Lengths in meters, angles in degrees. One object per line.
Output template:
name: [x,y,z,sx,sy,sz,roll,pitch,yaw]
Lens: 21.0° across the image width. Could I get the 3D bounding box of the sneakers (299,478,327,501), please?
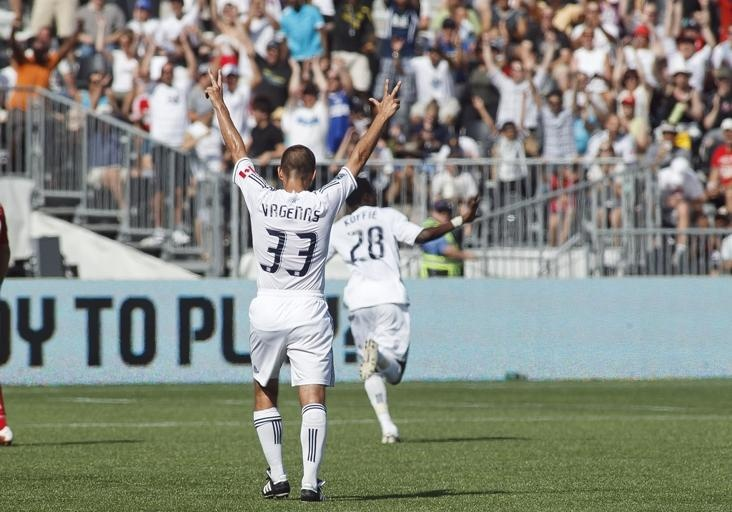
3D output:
sneakers: [-0.629,2.637,22.569,0.280,0.242,0.189,-3,14,-6]
